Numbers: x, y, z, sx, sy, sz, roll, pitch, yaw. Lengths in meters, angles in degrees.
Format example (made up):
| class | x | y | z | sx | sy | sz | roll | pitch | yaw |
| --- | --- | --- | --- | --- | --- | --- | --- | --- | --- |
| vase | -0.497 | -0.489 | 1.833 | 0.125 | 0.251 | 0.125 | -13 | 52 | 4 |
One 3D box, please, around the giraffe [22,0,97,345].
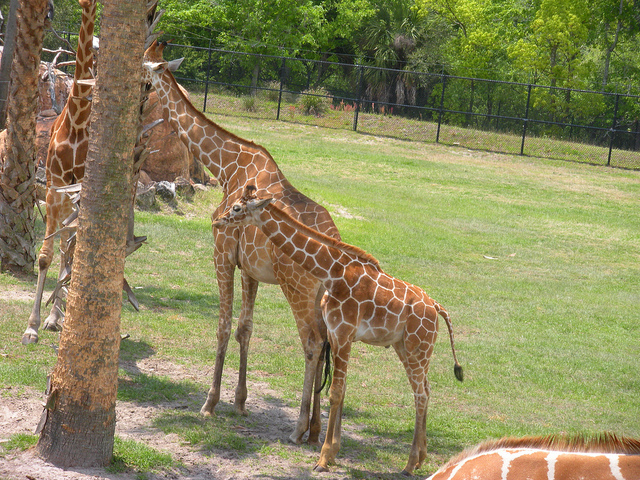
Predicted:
| class | x | y | z | sx | sy | sz | roll | pitch | yaw |
| --- | --- | --- | --- | --- | --- | --- | --- | --- | --- |
| giraffe | -5.467 | -1.430 | 22.846 | 1.033 | 7.077 | 1.484 | 2 | 6 | -28 |
